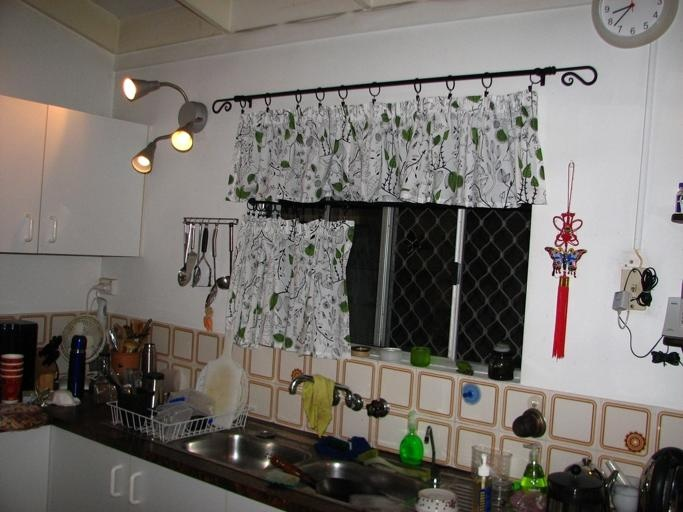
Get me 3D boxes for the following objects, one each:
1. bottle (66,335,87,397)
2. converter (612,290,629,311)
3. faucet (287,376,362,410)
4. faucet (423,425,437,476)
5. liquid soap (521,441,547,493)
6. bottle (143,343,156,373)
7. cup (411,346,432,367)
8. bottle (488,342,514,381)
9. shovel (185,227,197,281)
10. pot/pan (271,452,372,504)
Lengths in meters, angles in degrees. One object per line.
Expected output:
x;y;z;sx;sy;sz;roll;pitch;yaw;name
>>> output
-1.719;0.714;3.265;0.101;0.422;0.202;6;-3;-28;bottle
1.245;0.205;2.250;0.062;0.099;0.064;7;-3;-41;converter
-0.077;0.736;2.702;0.316;0.118;0.111;23;-11;-2;faucet
0.444;0.962;2.521;0.073;0.136;0.087;4;-2;12;faucet
0.874;0.952;2.280;0.103;0.190;0.148;4;-3;23;liquid soap
-1.259;0.668;3.246;0.143;0.188;0.057;3;-3;37;bottle
0.408;0.530;2.602;0.089;0.087;0.089;0;5;0;cup
0.774;0.514;2.452;0.139;0.188;0.153;1;-3;0;bottle
-1.011;-0.002;3.322;0.063;0.374;0.157;6;-3;-40;shovel
-0.055;1.118;2.517;0.385;0.067;0.266;12;11;22;pot/pan
